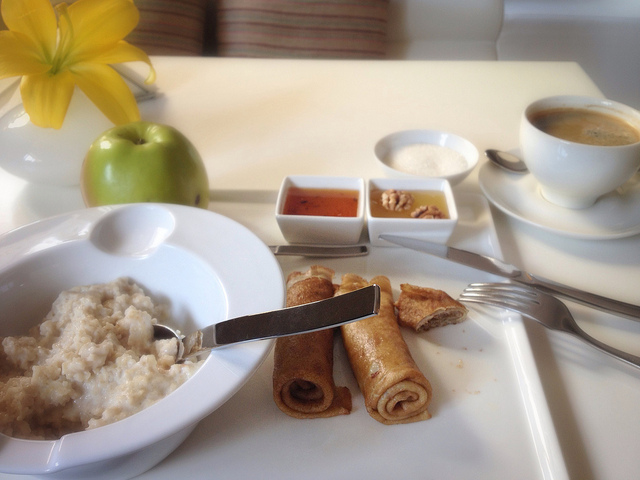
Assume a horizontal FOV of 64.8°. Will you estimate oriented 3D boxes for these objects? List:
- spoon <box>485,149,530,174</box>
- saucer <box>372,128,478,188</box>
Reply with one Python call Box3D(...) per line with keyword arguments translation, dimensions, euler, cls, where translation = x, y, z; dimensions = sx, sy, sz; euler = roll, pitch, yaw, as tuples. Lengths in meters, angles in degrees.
Box3D(translation=(0.406, -0.180, 1.132), dimensions=(0.036, 0.019, 0.131), euler=(-24, 45, -31), cls="spoon")
Box3D(translation=(0.253, -0.206, 1.130), dimensions=(0.191, 0.144, 0.245), euler=(-6, 18, -28), cls="saucer")
